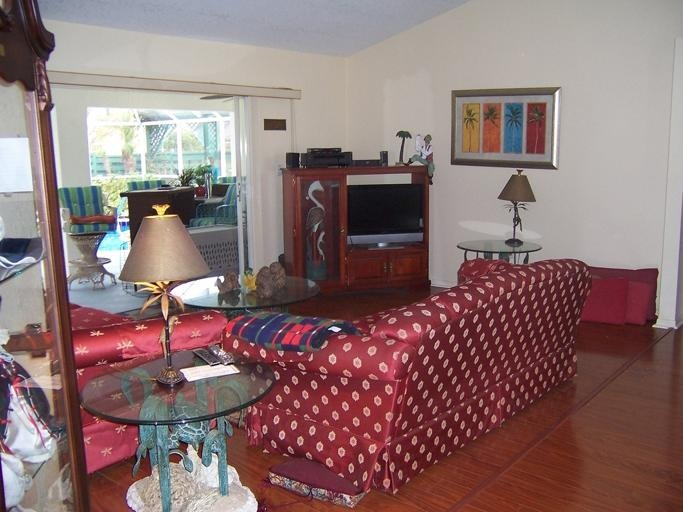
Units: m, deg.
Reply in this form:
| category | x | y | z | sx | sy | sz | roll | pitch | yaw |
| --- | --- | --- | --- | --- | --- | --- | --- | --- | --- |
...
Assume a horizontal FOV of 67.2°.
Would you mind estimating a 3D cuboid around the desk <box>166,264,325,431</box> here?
| category | x | y | z | sx | sy | sz | roll | pitch | yaw |
| --- | --- | --- | --- | --- | --- | --- | --- | --- | --- |
| desk | -0.809 | 0.709 | 4.408 | 0.993 | 0.663 | 1.002 | -1 | 10 | -2 |

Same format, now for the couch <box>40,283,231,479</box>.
| category | x | y | z | sx | sy | sz | roll | pitch | yaw |
| --- | --- | --- | --- | --- | --- | --- | --- | --- | --- |
| couch | -1.388 | 0.461 | 3.133 | 1.086 | 0.728 | 1.136 | 16 | 20 | 42 |

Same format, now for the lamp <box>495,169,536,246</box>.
| category | x | y | z | sx | sy | sz | roll | pitch | yaw |
| --- | --- | --- | --- | --- | --- | --- | --- | --- | --- |
| lamp | 1.922 | -0.543 | 5.616 | 0.351 | 0.793 | 0.722 | 4 | 13 | 20 |

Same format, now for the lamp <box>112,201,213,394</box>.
| category | x | y | z | sx | sy | sz | roll | pitch | yaw |
| --- | --- | --- | --- | --- | --- | --- | --- | --- | --- |
| lamp | -0.847 | 0.167 | 2.486 | 0.407 | 0.833 | 0.504 | -6 | 14 | -24 |

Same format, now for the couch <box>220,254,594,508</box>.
| category | x | y | z | sx | sy | sz | roll | pitch | yaw |
| --- | --- | --- | --- | --- | --- | --- | --- | --- | --- |
| couch | 0.537 | 0.627 | 3.030 | 2.147 | 1.033 | 0.778 | -7 | 14 | -29 |
